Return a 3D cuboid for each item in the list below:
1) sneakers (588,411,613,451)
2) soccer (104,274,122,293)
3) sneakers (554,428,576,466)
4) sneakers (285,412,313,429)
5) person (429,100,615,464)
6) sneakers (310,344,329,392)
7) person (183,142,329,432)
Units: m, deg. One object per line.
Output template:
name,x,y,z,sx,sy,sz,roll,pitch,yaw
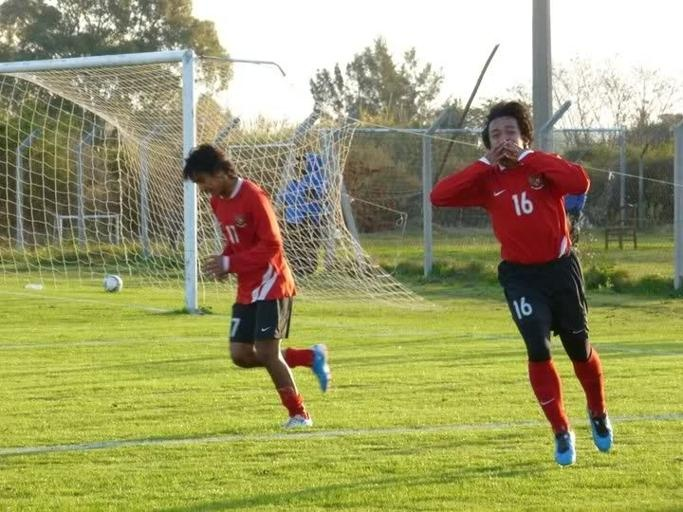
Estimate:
sneakers,2.120,1.458,8.587,0.127,0.346,0.143,-11,-14,9
soccer,-3.844,0.470,17.680,0.285,0.272,0.431,-2,7,-15
sneakers,1.766,1.527,8.269,0.116,0.129,0.325,-9,22,16
sneakers,-0.366,1.467,9.165,0.254,0.106,0.097,4,-10,-22
person,1.556,0.178,8.581,1.367,2.891,0.870,3,8,19
sneakers,-0.206,1.045,9.900,0.212,0.439,0.164,-11,12,-3
person,-0.772,0.244,9.284,1.087,2.463,0.389,3,8,19
